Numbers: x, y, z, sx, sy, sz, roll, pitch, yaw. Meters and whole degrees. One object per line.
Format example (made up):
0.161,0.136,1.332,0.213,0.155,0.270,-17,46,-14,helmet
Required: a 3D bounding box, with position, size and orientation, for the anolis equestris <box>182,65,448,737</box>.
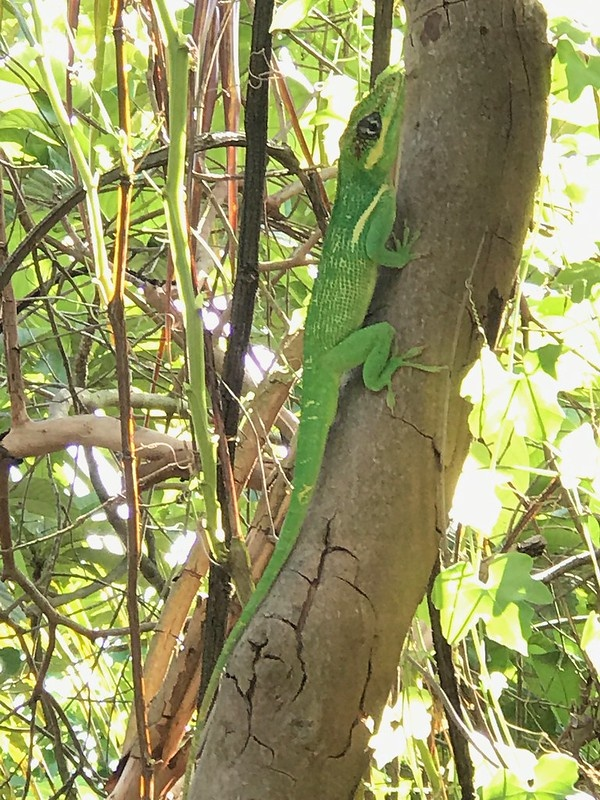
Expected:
0.069,0.000,2.281,0.199,1.331,0.376,12,-1,-22,anolis equestris
